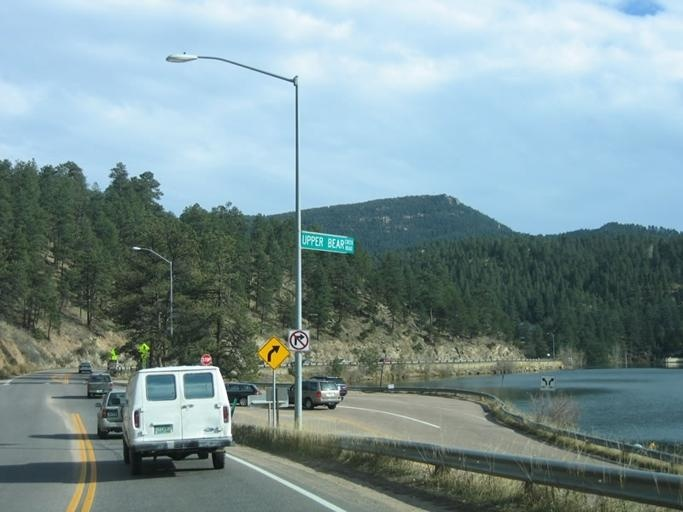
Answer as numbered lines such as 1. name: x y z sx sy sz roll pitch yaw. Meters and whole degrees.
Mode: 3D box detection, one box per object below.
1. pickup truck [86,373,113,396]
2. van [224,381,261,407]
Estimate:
1. pickup truck: -34.918 19.222 182.832 3.022 3.487 7.316 1 4 -11
2. van: -14.104 19.763 180.911 4.235 2.412 2.823 5 -4 3
